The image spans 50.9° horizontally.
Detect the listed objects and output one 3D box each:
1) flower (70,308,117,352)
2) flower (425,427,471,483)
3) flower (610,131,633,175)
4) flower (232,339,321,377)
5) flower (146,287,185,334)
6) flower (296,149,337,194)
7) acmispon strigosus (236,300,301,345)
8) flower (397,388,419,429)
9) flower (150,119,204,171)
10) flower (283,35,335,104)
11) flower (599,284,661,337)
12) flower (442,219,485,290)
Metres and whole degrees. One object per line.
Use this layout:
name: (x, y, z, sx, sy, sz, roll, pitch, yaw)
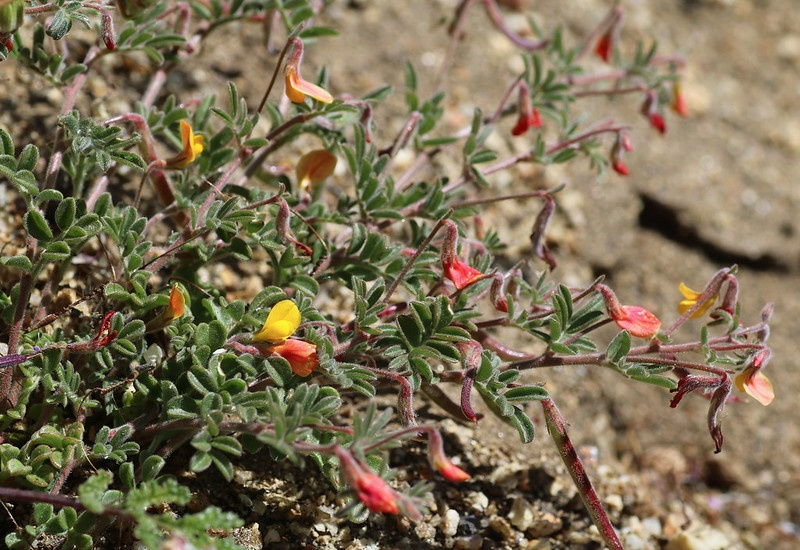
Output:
flower: (-1.113, 0.207, 3.033, 0.161, 0.175, 0.127, -3, 56, -22)
flower: (0.135, 0.561, 2.692, 0.086, 0.256, 0.057, -17, 28, 25)
flower: (0.868, -0.486, 3.312, 0.091, 0.051, 0.196, -1, 63, 36)
flower: (-0.448, 0.274, 3.044, 0.274, 0.172, 0.134, 6, 104, 6)
flower: (-0.846, 0.128, 3.070, 0.103, 0.195, 0.054, 43, 37, -11)
flower: (-0.384, -0.451, 3.529, 0.200, 0.300, 0.078, -2, 84, -1)
acmispon strigosus: (-0.455, 0.167, 2.956, 0.174, 0.062, 0.128, -23, 73, 1)
flower: (0.026, 0.467, 2.939, 0.040, 0.065, 0.129, -9, 96, 8)
flower: (-0.839, -0.455, 3.186, 0.217, 0.151, 0.129, -22, 71, -2)
flower: (-0.337, -0.732, 3.074, 0.211, 0.240, 0.086, 20, 36, 9)
flower: (0.851, 0.123, 3.117, 0.258, 0.165, 0.064, 23, 38, 26)
flower: (0.231, -0.095, 3.045, 0.157, 0.160, 0.267, -7, 93, 5)
